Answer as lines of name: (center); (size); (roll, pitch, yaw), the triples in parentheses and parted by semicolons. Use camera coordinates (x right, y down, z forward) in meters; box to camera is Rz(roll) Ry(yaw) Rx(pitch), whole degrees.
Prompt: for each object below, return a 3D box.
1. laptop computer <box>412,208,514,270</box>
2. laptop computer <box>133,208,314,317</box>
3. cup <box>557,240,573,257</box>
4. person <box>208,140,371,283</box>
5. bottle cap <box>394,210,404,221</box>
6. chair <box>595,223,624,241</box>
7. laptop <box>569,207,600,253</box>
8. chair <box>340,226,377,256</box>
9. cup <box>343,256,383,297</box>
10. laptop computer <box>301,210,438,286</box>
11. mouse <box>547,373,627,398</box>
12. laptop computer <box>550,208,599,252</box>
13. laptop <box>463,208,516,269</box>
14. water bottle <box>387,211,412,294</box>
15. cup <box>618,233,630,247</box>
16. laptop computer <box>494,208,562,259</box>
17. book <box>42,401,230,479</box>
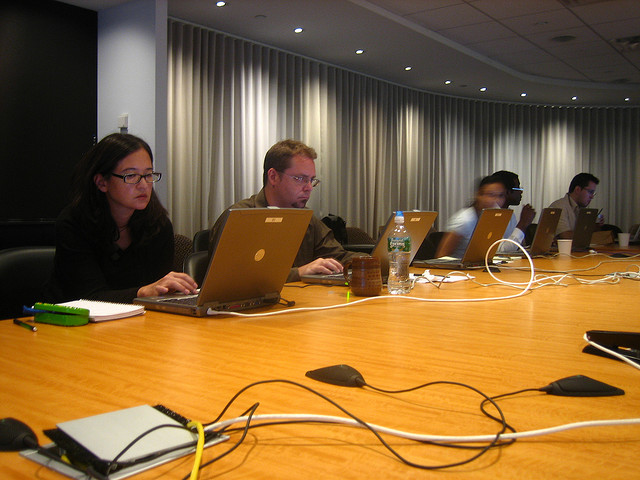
laptop computer: (0.812, -0.006, 2.798); (0.468, 0.312, 0.510); (-3, -1, 43)
laptop computer: (-0.321, 0.014, 1.616); (0.425, 0.323, 0.378); (6, 2, 31)
cup: (1.775, 0.057, 3.588); (0.104, 0.107, 0.106); (1, -8, 0)
person: (-0.147, -0.097, 2.895); (0.921, 0.924, 0.741); (3, 7, 1)
bottle cap: (0.321, -0.106, 2.003); (0.045, 0.043, 0.029); (0, 2, 17)
chair: (3.370, -0.096, 5.739); (0.231, 0.217, 0.377); (18, 14, 35)
laptop: (2.287, -0.078, 4.253); (0.271, 0.268, 0.393); (14, 7, 38)
chair: (0.355, 0.001, 4.686); (0.294, 0.337, 0.266); (0, 0, 38)
cup: (0.151, 0.134, 1.852); (0.161, 0.149, 0.113); (0, 2, 21)
laptop computer: (0.241, -0.005, 2.224); (0.404, 0.279, 0.445); (0, -1, 25)
mouse: (0.458, 0.259, 0.861); (0.135, 0.040, 0.049); (-5, -3, 17)
laptop computer: (2.139, -0.076, 4.232); (0.490, 0.334, 0.395); (2, -9, -28)
laptop: (0.903, -0.009, 2.669); (0.128, 0.327, 0.313); (9, 9, 40)
water bottle: (0.329, 0.039, 2.018); (0.113, 0.309, 0.377); (4, 7, 8)
cup: (2.742, -0.001, 4.485); (0.103, 0.113, 0.122); (2, -9, -4)
laptop computer: (1.436, -0.041, 3.430); (0.408, 0.282, 0.464); (-4, -5, 30)
book: (-0.285, 0.271, 0.700); (0.194, 0.047, 0.164); (-1, 8, -29)
